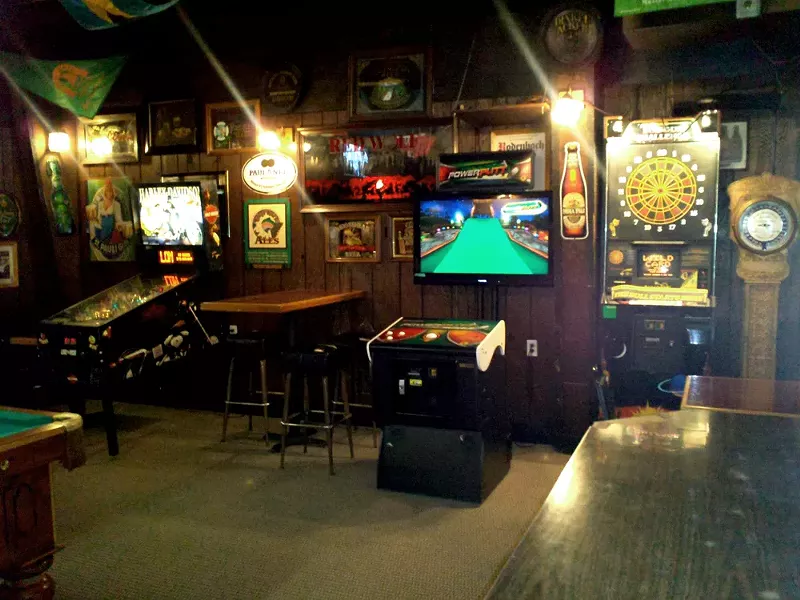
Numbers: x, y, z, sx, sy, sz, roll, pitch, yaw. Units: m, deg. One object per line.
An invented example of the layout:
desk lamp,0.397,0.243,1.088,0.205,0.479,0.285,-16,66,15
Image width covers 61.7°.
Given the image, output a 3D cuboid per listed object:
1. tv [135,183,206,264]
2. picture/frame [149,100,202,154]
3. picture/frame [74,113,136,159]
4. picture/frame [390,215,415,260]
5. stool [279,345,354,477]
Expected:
tv,-2.214,-0.777,6.521,0.747,0.905,0.114,1,6,13
picture/frame,-2.235,-1.758,6.711,0.503,0.464,0.089,2,3,21
picture/frame,-3.045,-1.727,6.967,0.449,0.356,0.034,2,5,17
picture/frame,0.012,-0.564,6.078,0.192,0.380,0.084,2,10,19
stool,-0.718,0.764,5.746,0.629,0.992,1.515,-2,10,-8
